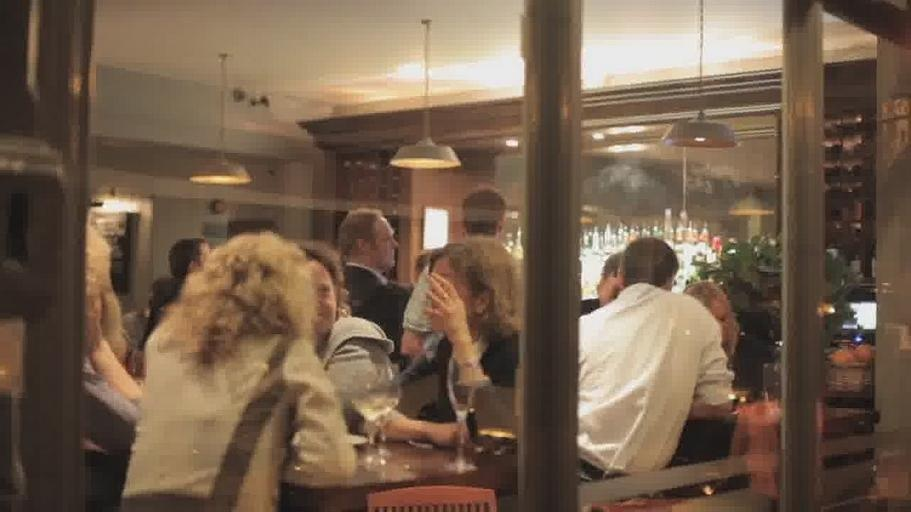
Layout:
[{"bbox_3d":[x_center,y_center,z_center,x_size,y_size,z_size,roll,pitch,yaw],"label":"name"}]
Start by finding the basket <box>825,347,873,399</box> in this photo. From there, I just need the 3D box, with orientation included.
[{"bbox_3d":[2.450,0.707,8.392,0.369,0.312,0.096,-2,0,-38],"label":"basket"}]

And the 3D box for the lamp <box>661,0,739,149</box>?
[{"bbox_3d":[1.405,-1.050,7.752,0.483,0.857,0.120,-2,0,-32],"label":"lamp"}]

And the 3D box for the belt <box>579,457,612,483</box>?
[{"bbox_3d":[0.798,1.229,7.737,0.173,0.055,0.127,15,-3,-2],"label":"belt"}]
